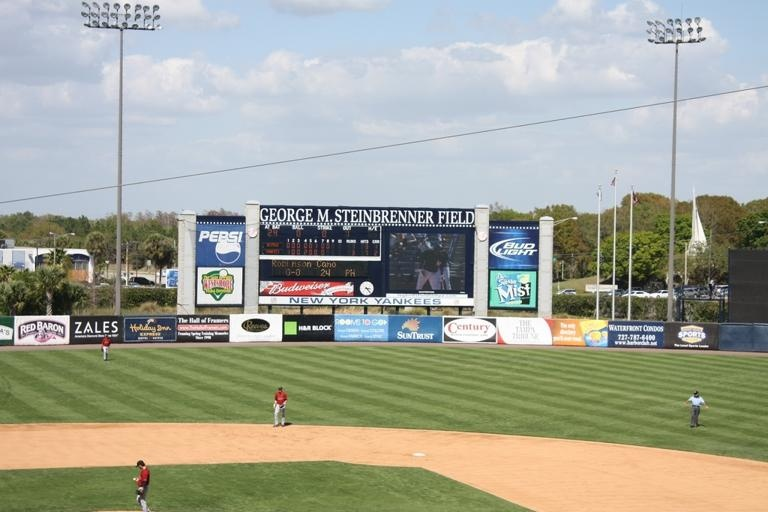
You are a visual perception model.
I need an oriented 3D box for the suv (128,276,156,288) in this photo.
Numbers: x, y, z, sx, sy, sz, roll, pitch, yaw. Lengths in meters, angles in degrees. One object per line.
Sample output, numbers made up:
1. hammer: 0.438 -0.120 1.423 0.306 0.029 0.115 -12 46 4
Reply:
1. suv: -34.335 3.880 232.114 3.258 1.068 2.316 2 0 10
